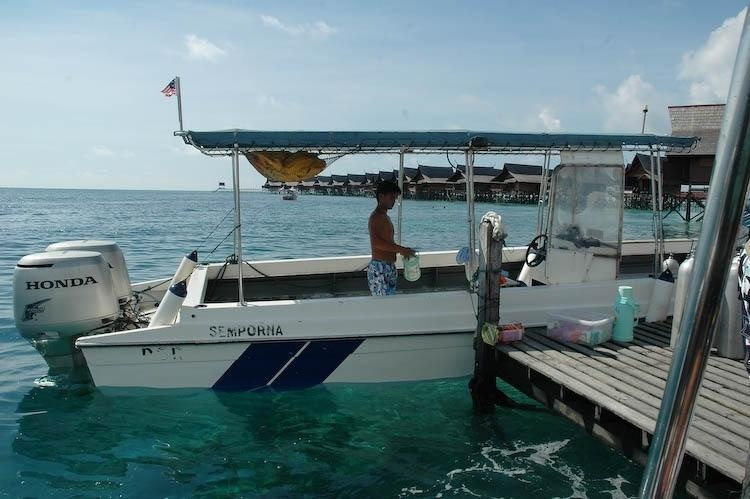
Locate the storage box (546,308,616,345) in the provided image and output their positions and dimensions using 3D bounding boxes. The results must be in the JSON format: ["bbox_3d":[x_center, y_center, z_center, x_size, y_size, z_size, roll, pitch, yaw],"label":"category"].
[{"bbox_3d":[2.573,0.945,7.738,0.679,0.246,0.448,1,2,-12],"label":"storage box"}]
